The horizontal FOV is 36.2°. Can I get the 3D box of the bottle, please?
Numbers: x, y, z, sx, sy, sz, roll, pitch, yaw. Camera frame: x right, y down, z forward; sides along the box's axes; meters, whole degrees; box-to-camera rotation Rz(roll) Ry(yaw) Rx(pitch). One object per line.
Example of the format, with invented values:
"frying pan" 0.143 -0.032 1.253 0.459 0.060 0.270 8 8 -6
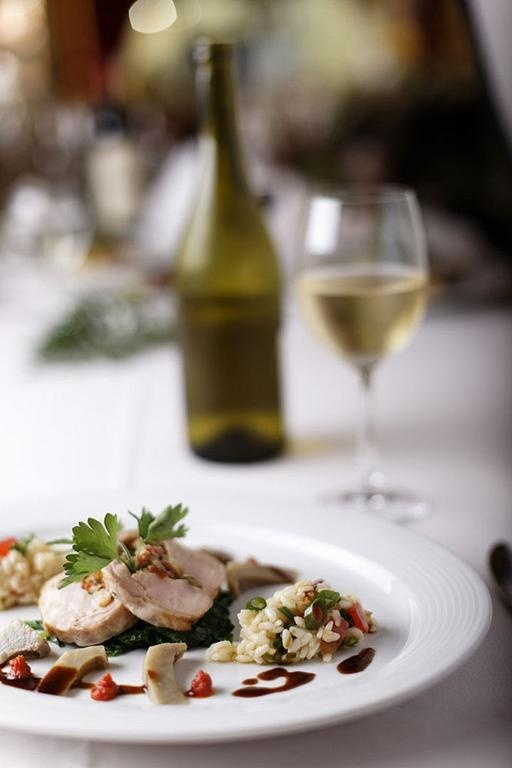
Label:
"bottle" -0.040 -0.147 0.916 0.137 0.477 0.199 -2 31 2
